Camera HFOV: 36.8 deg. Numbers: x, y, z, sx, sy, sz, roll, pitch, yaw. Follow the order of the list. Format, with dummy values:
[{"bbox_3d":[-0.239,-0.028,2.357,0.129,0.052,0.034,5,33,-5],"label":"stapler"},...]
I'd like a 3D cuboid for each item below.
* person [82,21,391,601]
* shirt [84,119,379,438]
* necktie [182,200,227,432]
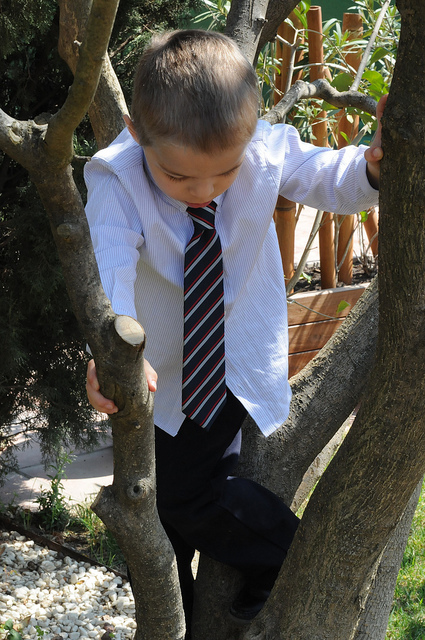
[{"bbox_3d":[0.041,0.096,1.287,0.560,1.295,0.586,-2,15,-11],"label":"person"},{"bbox_3d":[0.049,-0.035,1.329,0.644,0.724,0.482,-12,30,-16],"label":"shirt"},{"bbox_3d":[-0.020,-0.006,1.251,0.077,0.425,0.107,0,15,-5],"label":"necktie"}]
